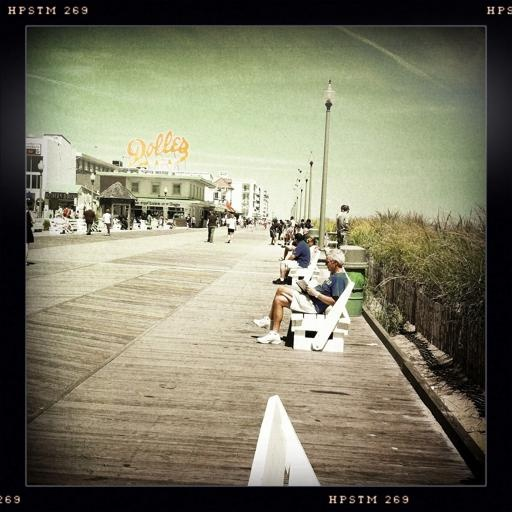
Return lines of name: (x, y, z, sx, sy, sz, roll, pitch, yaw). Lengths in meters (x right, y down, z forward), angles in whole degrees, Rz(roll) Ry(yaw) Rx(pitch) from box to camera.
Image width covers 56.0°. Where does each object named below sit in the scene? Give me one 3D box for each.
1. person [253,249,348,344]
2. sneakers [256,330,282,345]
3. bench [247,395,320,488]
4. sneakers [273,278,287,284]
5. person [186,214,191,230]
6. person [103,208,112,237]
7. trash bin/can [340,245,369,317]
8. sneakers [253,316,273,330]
person: (0.686, 0.593, 7.135, 1.117, 1.590, 0.639, 11, 9, -2)
sneakers: (0.181, 1.197, 7.122, 0.387, 0.247, 0.158, 3, 3, -2)
bench: (0.200, 1.310, 3.326, 0.448, 0.733, 0.045, 3, 22, 20)
sneakers: (0.661, 0.673, 13.351, 0.353, 0.188, 0.141, 0, 2, 30)
person: (-8.052, -4.218, 57.735, 0.475, 1.456, 1.937, 1, 8, -7)
person: (-10.499, -2.266, 34.065, 0.441, 1.657, 2.208, -1, 8, -15)
trash bin/can: (1.815, 0.468, 8.916, 0.417, 1.220, 1.223, 0, 4, 2)
sneakers: (0.109, 1.060, 7.940, 0.358, 0.150, 0.184, 12, -43, -26)
